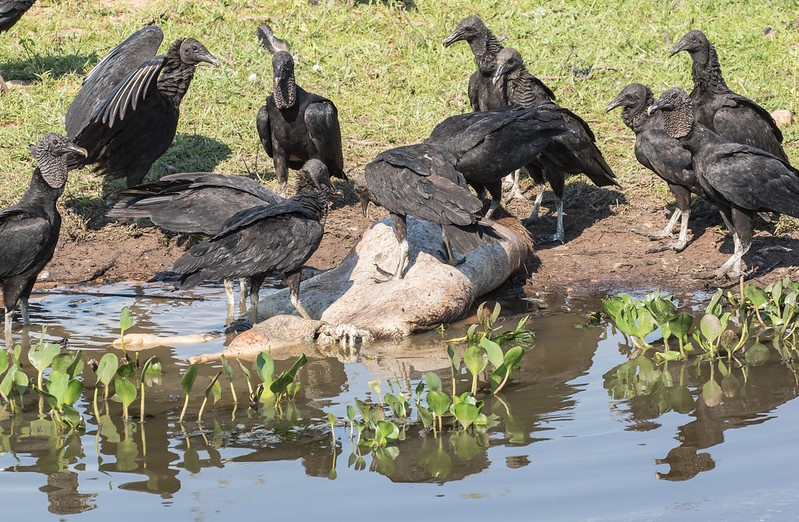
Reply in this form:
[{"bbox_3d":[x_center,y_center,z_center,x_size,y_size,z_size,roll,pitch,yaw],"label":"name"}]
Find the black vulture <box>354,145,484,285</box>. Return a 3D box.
[{"bbox_3d":[0.218,-0.467,8.973,0.906,1.074,1.644,-14,20,-36],"label":"black vulture"}]
